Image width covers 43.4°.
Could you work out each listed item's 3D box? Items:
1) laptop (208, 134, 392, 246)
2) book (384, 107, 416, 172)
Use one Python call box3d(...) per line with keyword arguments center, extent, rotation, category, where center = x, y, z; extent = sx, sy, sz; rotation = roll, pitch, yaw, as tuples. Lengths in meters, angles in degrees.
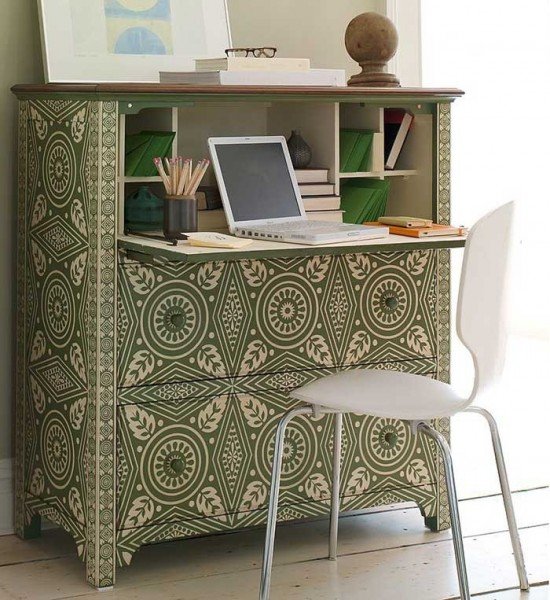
box3d(center=(0.057, -0.273, 1.662), extent=(0.368, 0.229, 0.313), rotation=(9, 15, 31), category="laptop")
box3d(center=(0.343, -0.448, 1.954), extent=(0.038, 0.151, 0.153), rotation=(12, 13, -31), category="book")
